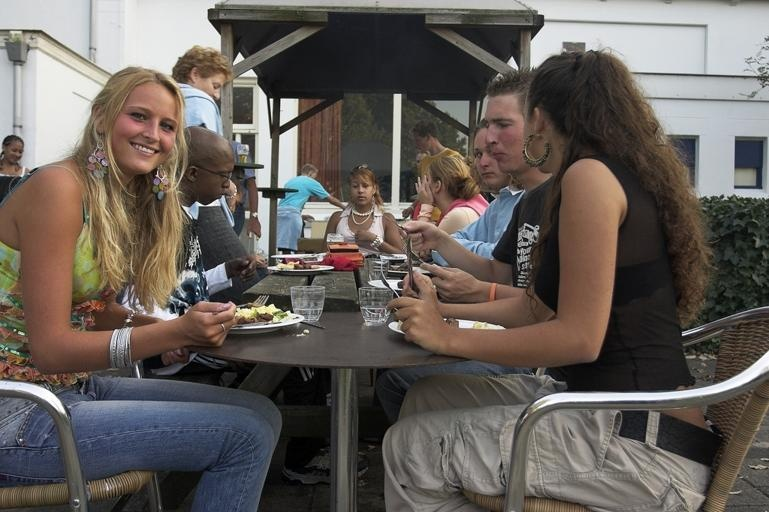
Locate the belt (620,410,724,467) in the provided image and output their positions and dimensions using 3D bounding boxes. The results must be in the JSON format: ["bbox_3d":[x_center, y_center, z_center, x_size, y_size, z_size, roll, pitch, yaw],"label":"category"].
[{"bbox_3d":[1.056,0.660,2.781,0.286,0.106,0.204,22,-6,9],"label":"belt"}]

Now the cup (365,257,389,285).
[{"bbox_3d":[-0.052,0.072,4.209,0.130,0.139,0.124,-1,-2,0],"label":"cup"}]

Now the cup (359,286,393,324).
[{"bbox_3d":[-0.034,0.208,3.281,0.152,0.166,0.146,-1,4,0],"label":"cup"}]

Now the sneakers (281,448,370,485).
[{"bbox_3d":[-0.314,1.151,4.262,0.537,0.240,0.212,3,-4,-9],"label":"sneakers"}]

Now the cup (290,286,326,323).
[{"bbox_3d":[-0.333,0.211,3.330,0.156,0.166,0.147,-1,2,0],"label":"cup"}]
